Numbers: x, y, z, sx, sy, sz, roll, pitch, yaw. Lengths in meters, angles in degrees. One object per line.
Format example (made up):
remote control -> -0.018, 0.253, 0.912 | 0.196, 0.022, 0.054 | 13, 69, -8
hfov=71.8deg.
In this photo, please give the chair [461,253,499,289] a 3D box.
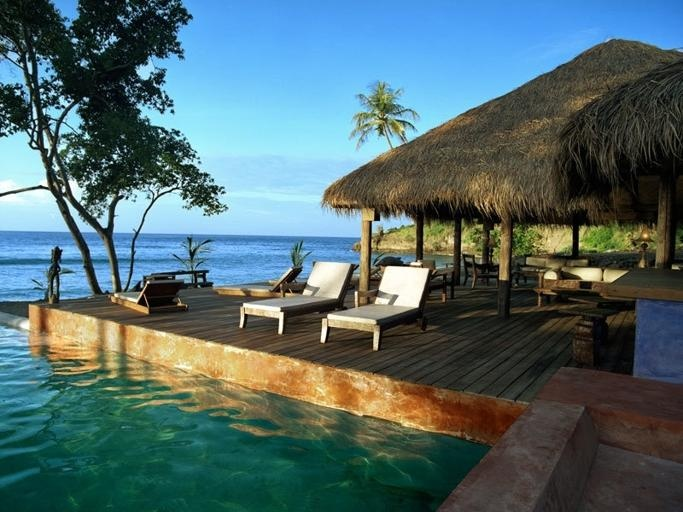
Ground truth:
chair -> 3.675, 0.399, 12.395 | 0.857, 0.882, 0.811 | 1, 3, 13
